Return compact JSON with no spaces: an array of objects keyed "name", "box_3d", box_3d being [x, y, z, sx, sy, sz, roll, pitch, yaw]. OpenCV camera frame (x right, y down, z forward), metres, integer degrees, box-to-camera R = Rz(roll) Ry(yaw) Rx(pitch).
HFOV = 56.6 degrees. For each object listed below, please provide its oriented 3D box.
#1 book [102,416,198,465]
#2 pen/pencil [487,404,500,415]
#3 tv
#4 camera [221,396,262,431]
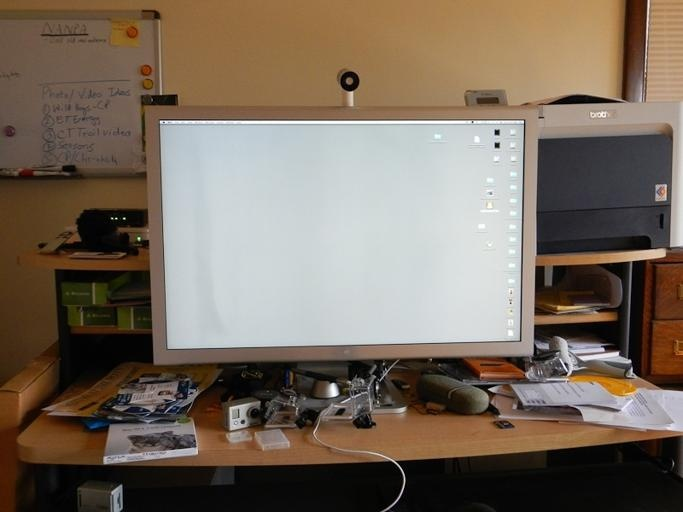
[{"name":"book","box_3d":[-0.473,0.463,1.587,0.223,0.055,0.133,-3,9,-10]},{"name":"pen/pencil","box_3d":[0.407,0.409,1.684,0.019,0.008,0.025,-10,46,-44]},{"name":"tv","box_3d":[0.003,-0.011,1.697,1.120,0.572,0.073,-1,2,-7]},{"name":"camera","box_3d":[-0.262,0.407,1.694,0.136,0.078,0.075,-3,6,-35]}]
